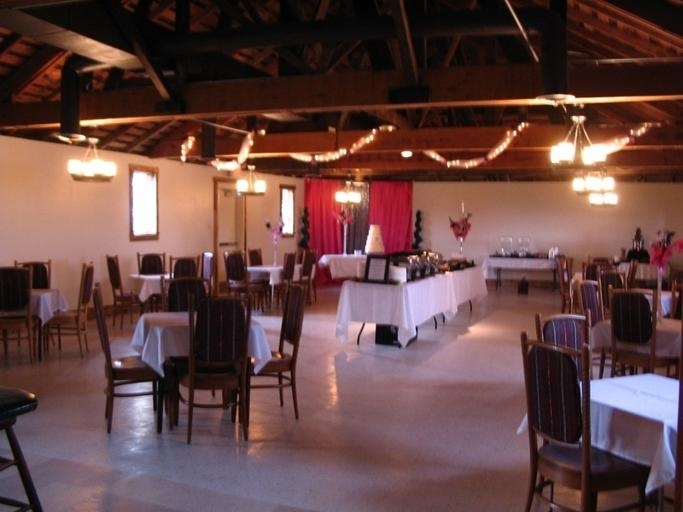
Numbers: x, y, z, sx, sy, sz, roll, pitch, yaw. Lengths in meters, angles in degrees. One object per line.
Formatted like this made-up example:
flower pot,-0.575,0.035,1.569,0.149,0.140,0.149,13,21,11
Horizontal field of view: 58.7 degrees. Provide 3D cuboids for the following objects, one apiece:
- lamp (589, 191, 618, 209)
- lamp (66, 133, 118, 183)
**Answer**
lamp,4.393,-0.947,10.225,0.521,0.248,0.581,-1,-2,28
lamp,-3.046,-1.152,7.426,0.638,0.631,0.641,0,-5,-41
